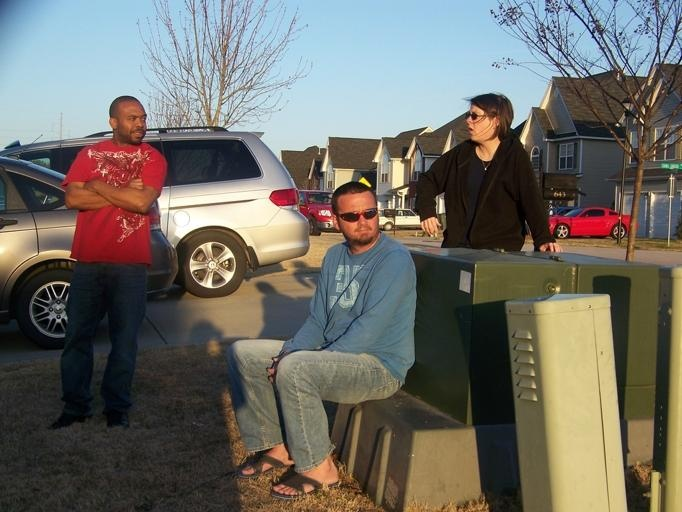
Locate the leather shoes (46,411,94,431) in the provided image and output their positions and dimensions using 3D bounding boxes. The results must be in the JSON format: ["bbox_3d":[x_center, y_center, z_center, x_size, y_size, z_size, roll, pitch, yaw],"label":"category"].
[{"bbox_3d":[-1.974,1.207,4.057,0.275,0.131,0.096,5,-6,-32],"label":"leather shoes"}]

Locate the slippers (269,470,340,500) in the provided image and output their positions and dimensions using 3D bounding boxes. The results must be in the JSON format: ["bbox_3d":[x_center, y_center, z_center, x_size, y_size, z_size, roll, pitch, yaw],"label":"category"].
[{"bbox_3d":[-0.198,1.302,3.243,0.345,0.124,0.165,-1,-2,-16],"label":"slippers"}]

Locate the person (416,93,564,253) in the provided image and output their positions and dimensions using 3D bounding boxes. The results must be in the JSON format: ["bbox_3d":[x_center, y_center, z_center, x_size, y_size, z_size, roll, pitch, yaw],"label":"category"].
[{"bbox_3d":[1.065,-0.610,4.127,1.052,1.137,0.403,2,8,25],"label":"person"}]

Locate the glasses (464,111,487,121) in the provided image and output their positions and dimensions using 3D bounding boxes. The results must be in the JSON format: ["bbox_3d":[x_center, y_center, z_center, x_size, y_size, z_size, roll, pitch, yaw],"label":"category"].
[{"bbox_3d":[0.957,-1.018,4.076,0.111,0.078,0.225,-4,9,-18],"label":"glasses"}]

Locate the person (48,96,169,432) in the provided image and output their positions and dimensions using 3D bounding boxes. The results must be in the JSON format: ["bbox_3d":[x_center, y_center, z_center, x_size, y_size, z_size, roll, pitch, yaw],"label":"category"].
[{"bbox_3d":[-1.741,0.008,4.199,0.848,2.408,0.682,-4,8,-20],"label":"person"}]

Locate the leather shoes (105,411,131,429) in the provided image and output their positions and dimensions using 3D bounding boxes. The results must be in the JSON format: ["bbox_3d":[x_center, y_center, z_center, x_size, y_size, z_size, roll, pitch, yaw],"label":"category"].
[{"bbox_3d":[-1.629,1.194,4.094,0.124,0.135,0.123,22,40,35],"label":"leather shoes"}]

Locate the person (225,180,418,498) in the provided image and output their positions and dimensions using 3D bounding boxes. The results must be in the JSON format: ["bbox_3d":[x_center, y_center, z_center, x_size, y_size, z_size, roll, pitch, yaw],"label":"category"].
[{"bbox_3d":[-0.060,0.453,3.552,1.214,1.816,0.686,-5,9,-28],"label":"person"}]

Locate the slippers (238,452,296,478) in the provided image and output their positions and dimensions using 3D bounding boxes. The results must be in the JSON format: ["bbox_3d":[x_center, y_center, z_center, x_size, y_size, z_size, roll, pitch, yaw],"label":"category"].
[{"bbox_3d":[-0.471,1.322,3.558,0.370,0.125,0.151,1,-1,-25],"label":"slippers"}]

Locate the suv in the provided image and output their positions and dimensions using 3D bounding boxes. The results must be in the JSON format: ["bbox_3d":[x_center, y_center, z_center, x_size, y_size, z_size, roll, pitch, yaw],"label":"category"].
[{"bbox_3d":[-2.293,-0.631,8.921,4.414,2.213,2.421,2,-1,-13],"label":"suv"}]
